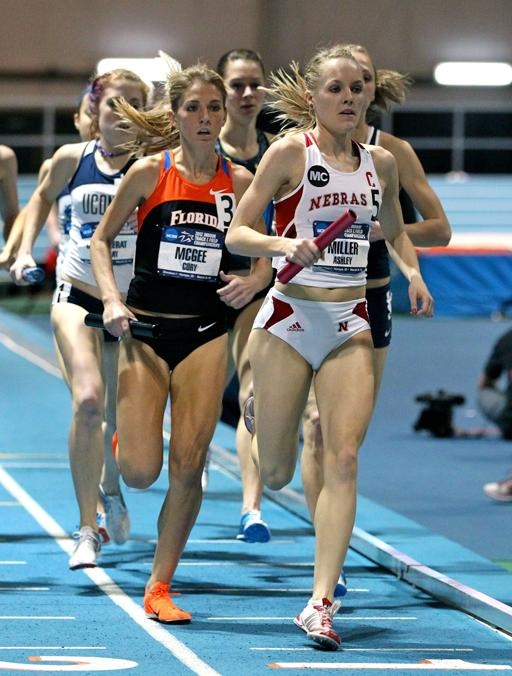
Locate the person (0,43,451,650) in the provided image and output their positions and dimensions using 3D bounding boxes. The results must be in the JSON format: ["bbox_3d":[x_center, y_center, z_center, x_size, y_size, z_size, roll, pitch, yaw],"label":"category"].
[{"bbox_3d":[-0.052,0.036,2.483,1.075,1.850,0.978,8,15,23],"label":"person"}]

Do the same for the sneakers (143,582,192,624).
[{"bbox_3d":[-0.275,0.804,2.389,0.076,0.080,0.200,4,-5,-32],"label":"sneakers"}]

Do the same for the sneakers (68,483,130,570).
[{"bbox_3d":[-0.593,0.755,3.017,0.154,0.173,0.435,-4,0,7],"label":"sneakers"}]
